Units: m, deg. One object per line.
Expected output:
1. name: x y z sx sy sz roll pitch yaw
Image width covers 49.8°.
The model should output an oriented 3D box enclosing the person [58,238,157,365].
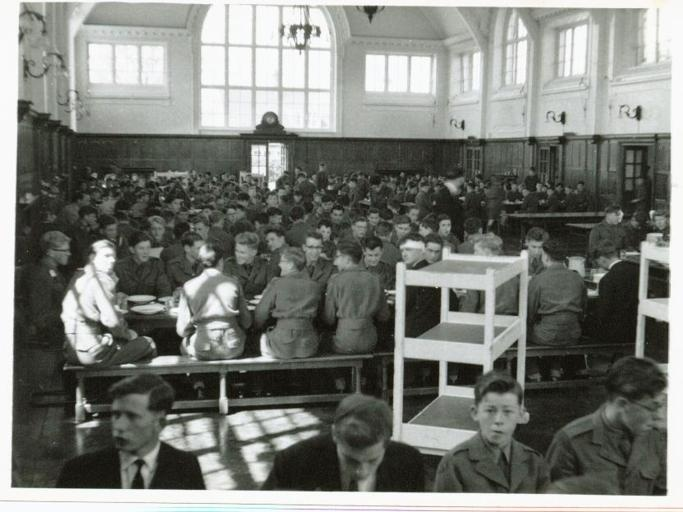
1. person: -2.273 0.455 7.052 0.800 1.195 0.282 -4 7 -21

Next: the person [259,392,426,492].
1. person: -0.022 1.410 5.515 1.064 0.811 2.481 0 -19 -2

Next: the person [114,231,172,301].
1. person: -2.243 0.192 8.267 0.715 0.847 0.688 4 25 -15

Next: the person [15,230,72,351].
1. person: -3.136 0.393 7.672 0.498 1.449 0.601 -1 35 -19

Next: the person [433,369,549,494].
1. person: 1.042 1.257 5.140 0.768 0.811 0.279 -1 7 3

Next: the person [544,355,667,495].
1. person: 1.872 1.256 5.126 0.906 1.086 0.341 -3 7 -12

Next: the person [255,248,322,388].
1. person: -0.556 0.473 7.371 0.660 1.113 0.289 -3 7 -9

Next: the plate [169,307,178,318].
1. plate: -1.748 0.580 7.596 0.094 0.021 0.095 5 35 20

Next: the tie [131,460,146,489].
1. tie: -1.376 1.485 4.951 0.071 0.269 0.072 4 8 -1

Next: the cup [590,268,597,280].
1. cup: 3.028 0.218 8.890 0.122 0.169 0.121 -1 7 0

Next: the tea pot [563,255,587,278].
1. tea pot: 2.651 0.124 8.413 0.268 0.270 0.223 6 10 30

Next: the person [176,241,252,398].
1. person: -1.284 0.448 7.286 0.720 1.146 0.250 -3 7 -11

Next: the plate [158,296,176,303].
1. plate: -1.858 0.476 7.880 0.130 0.046 0.131 1 5 6

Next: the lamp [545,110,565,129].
1. lamp: 5.302 -3.456 18.364 0.397 0.314 0.683 0 4 -10
